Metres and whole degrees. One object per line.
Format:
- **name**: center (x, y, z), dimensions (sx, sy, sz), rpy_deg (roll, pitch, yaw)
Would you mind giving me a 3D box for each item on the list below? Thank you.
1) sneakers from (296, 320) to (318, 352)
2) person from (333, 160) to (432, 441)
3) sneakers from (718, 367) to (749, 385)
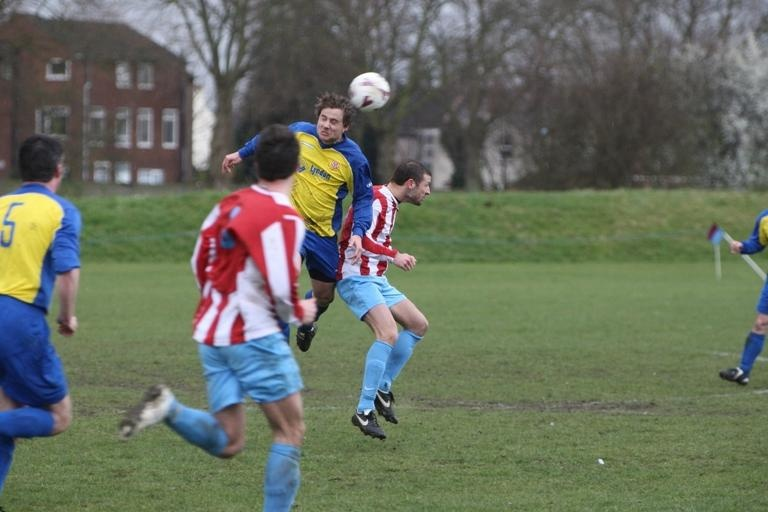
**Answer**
- **sneakers**: center (-1.062, 1.119, 17.956), dimensions (0.233, 0.493, 0.242), rpy_deg (7, 19, -5)
- **person**: center (-0.034, 0.509, 16.931), dimensions (1.064, 3.444, 1.307), rpy_deg (5, 5, 20)
- **sneakers**: center (4.693, 1.604, 17.964), dimensions (0.447, 0.159, 0.201), rpy_deg (17, 49, 10)
